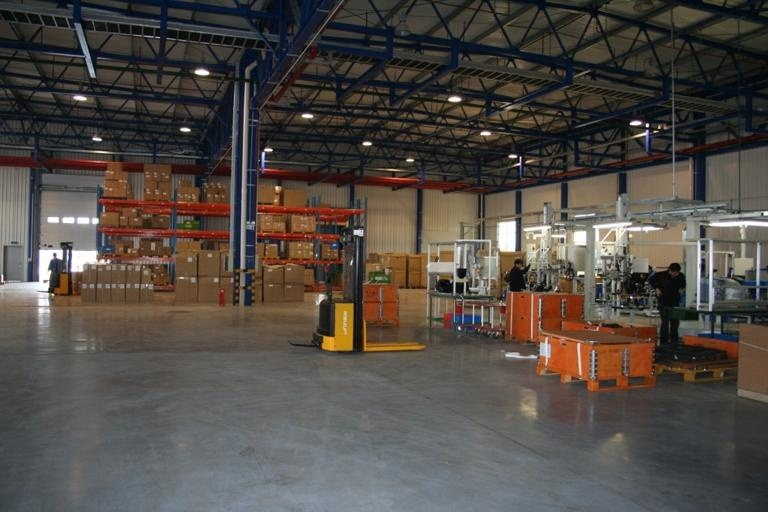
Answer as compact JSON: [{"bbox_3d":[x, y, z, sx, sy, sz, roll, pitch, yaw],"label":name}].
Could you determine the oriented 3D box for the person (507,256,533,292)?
[{"bbox_3d":[3.255,0.458,14.134,0.459,0.838,1.039,3,10,9],"label":"person"}]

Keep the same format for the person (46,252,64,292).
[{"bbox_3d":[-12.409,0.699,21.697,0.594,1.425,1.206,-5,13,-29],"label":"person"}]
